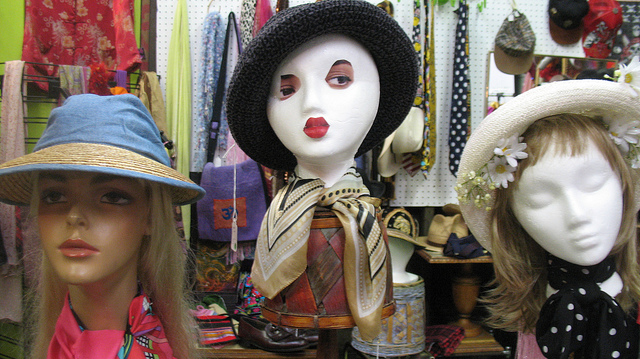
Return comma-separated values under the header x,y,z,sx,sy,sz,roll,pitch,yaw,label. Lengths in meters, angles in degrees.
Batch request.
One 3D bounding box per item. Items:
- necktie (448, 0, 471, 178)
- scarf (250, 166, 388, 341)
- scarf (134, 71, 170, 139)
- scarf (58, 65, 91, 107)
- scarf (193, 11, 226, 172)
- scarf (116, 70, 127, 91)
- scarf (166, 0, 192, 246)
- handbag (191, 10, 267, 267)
x,y,z,sx,sy,sz,roll,pitch,yaw,label
1.028,-0.689,4.915,0.149,1.287,0.152,0,-7,10,necktie
0.027,0.405,4.075,0.808,0.957,0.587,4,0,6,scarf
-1.191,-0.587,4.774,0.115,0.380,0.153,-2,-1,26,scarf
-1.731,-0.701,4.655,0.285,0.225,0.131,-2,-7,26,scarf
-0.798,-0.688,4.901,0.174,1.305,0.147,4,7,6,scarf
-1.388,-0.720,4.694,0.072,0.121,0.038,4,-7,-26,scarf
-1.018,-0.675,4.866,0.188,1.297,0.181,2,-7,-11,scarf
-0.580,-0.275,4.737,0.653,2.069,0.204,3,17,0,handbag
